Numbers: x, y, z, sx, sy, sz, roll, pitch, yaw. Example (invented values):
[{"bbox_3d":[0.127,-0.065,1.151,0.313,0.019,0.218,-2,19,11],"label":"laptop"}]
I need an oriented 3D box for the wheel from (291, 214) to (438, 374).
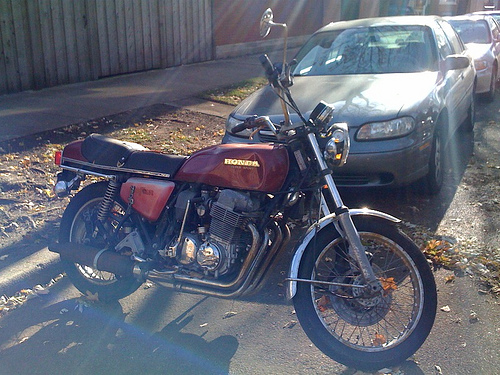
[{"bbox_3d":[0.794,0.801,3.119,0.899,0.964,0.180,10,2,1],"label":"wheel"}]

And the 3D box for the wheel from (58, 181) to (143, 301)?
[{"bbox_3d":[-1.264,0.449,3.731,0.821,0.928,0.180,13,1,18],"label":"wheel"}]

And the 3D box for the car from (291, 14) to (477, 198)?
[{"bbox_3d":[2.029,-1.275,6.229,1.910,1.461,3.603,3,15,25],"label":"car"}]

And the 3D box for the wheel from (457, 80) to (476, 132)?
[{"bbox_3d":[4.097,-1.502,8.198,0.242,0.953,0.667,14,35,33],"label":"wheel"}]
